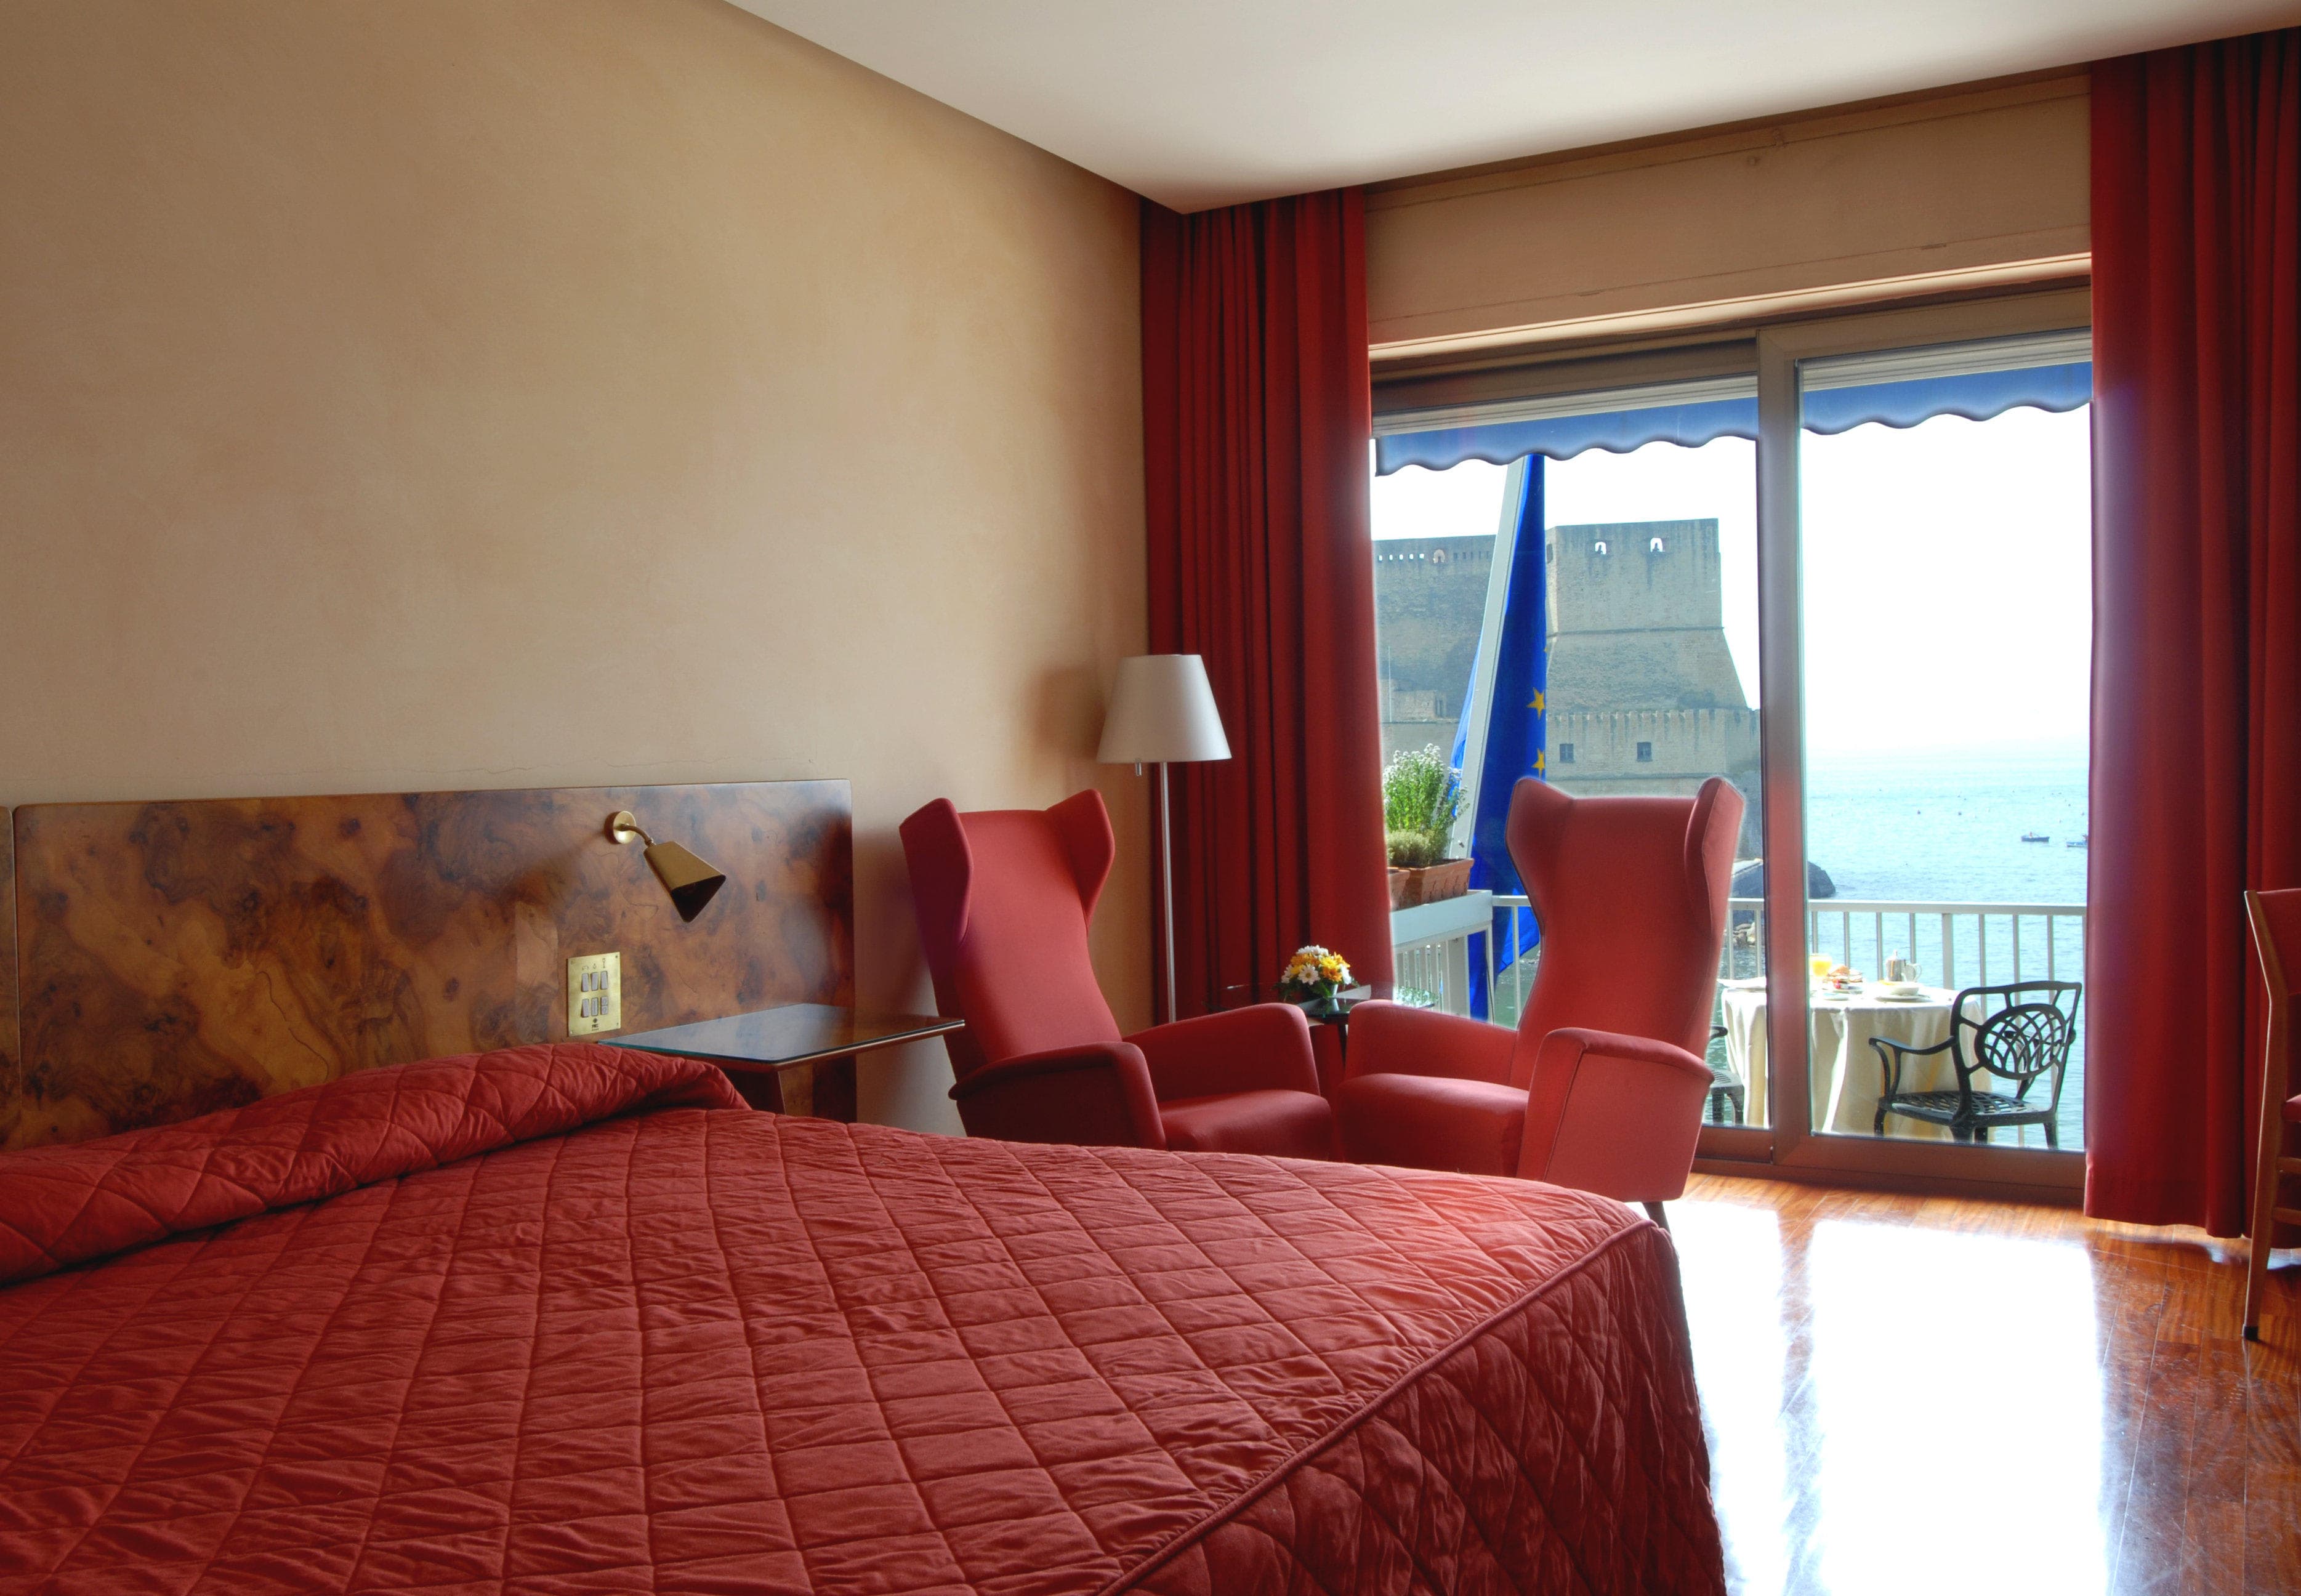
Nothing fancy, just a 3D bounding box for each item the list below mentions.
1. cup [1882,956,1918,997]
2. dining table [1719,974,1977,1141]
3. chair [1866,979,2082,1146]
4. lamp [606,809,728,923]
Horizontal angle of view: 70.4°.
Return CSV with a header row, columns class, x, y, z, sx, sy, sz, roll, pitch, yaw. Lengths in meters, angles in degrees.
class,x,y,z,sx,sy,sz,roll,pitch,yaw
cup,2.386,0.571,5.229,0.116,0.120,0.073,-1,-6,21
dining table,2.225,0.776,5.265,0.526,0.394,0.496,1,-2,-40
chair,2.601,0.800,5.268,0.495,0.752,0.498,1,3,-7
lamp,-1.152,0.193,3.842,0.255,0.297,0.461,-3,11,-17
